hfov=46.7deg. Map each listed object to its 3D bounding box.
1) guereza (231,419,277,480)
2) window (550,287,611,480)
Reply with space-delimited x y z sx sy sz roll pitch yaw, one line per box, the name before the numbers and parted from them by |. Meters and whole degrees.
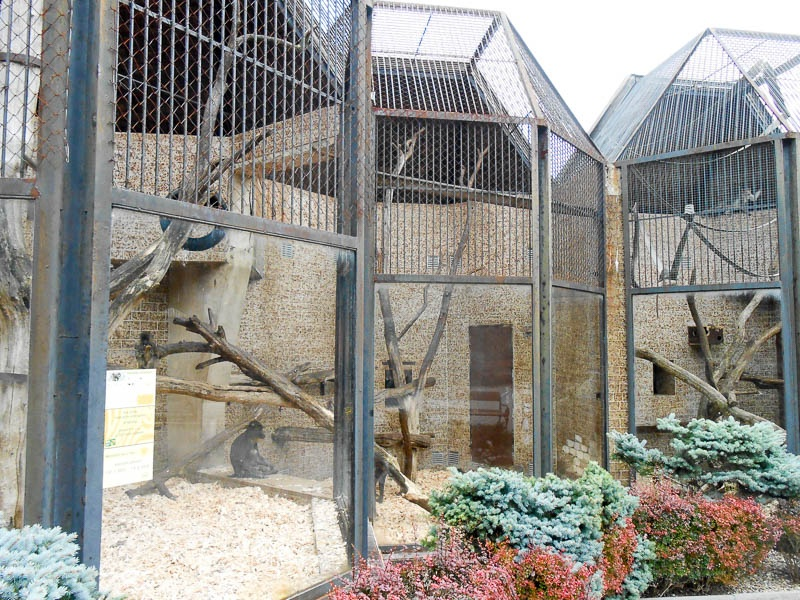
guereza | -1.240 1.239 7.845 0.322 0.488 0.315 -8 18 -30
window | 1.935 0.948 10.119 0.122 2.235 1.716 -3 -6 30
